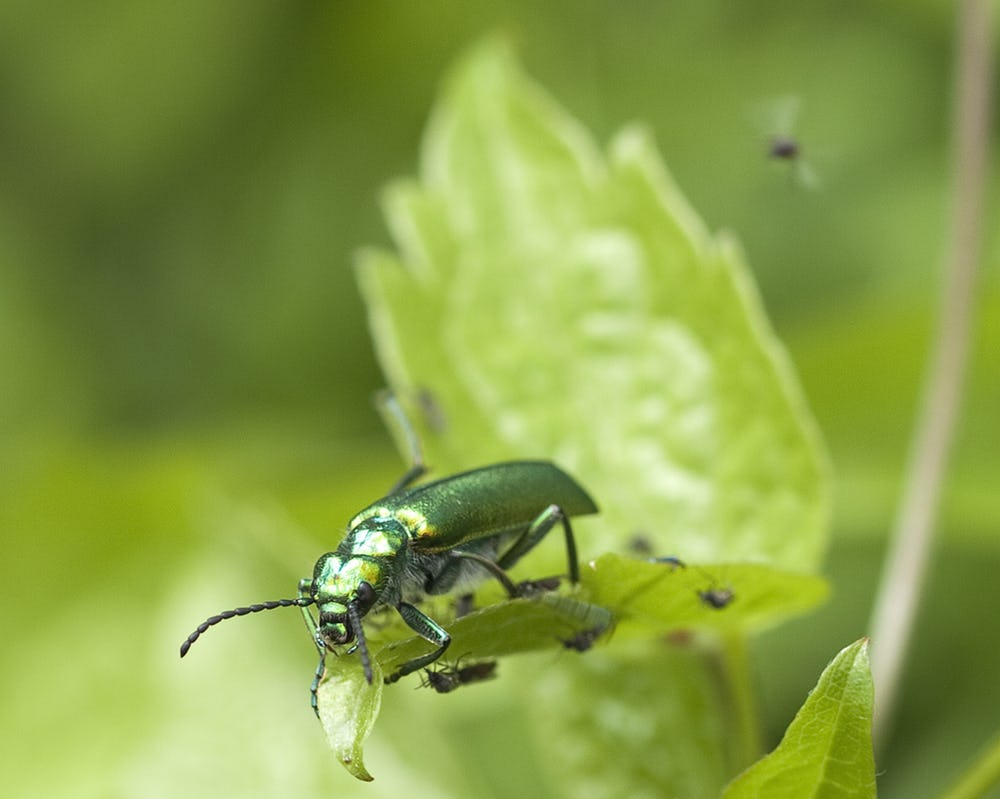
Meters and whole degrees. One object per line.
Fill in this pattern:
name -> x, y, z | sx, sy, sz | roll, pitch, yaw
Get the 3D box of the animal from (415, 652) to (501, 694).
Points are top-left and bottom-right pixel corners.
animal -> -0.101, 0.776, 3.183 | 0.177, 0.054, 0.140 | -2, -49, -50
